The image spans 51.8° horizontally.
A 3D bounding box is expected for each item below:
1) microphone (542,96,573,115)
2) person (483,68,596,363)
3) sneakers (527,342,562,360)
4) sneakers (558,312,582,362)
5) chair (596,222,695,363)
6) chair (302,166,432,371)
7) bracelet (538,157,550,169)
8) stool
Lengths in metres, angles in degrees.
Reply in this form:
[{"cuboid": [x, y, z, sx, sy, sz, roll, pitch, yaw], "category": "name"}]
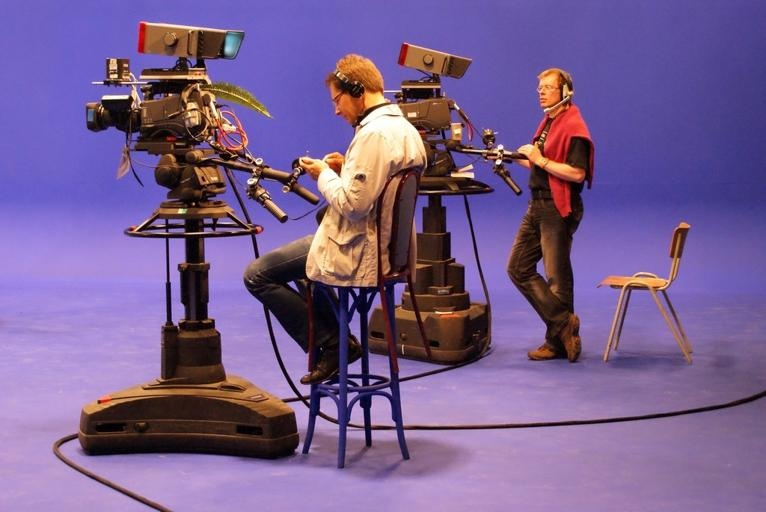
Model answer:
[{"cuboid": [1.371, -1.169, 6.128, 0.156, 0.038, 0.133, -31, -9, 8], "category": "microphone"}, {"cuboid": [1.305, -0.316, 6.172, 0.619, 2.216, 0.665, 3, 14, 14], "category": "person"}, {"cuboid": [1.288, 0.748, 6.202, 0.228, 0.098, 0.131, 0, -3, -3], "category": "sneakers"}, {"cuboid": [1.469, 0.638, 6.091, 0.170, 0.360, 0.137, -1, 14, 0], "category": "sneakers"}, {"cuboid": [2.099, 0.286, 6.281, 0.730, 1.005, 0.613, 0, 3, 25], "category": "chair"}, {"cuboid": [-0.005, -0.128, 4.516, 0.275, 0.751, 0.622, 12, 18, 40], "category": "chair"}, {"cuboid": [1.237, -0.713, 6.039, 0.059, 0.080, 0.029, 18, 10, 27], "category": "bracelet"}, {"cuboid": [-0.152, 0.626, 4.730, 0.748, 1.107, 0.744, -2, 0, -12], "category": "stool"}]
